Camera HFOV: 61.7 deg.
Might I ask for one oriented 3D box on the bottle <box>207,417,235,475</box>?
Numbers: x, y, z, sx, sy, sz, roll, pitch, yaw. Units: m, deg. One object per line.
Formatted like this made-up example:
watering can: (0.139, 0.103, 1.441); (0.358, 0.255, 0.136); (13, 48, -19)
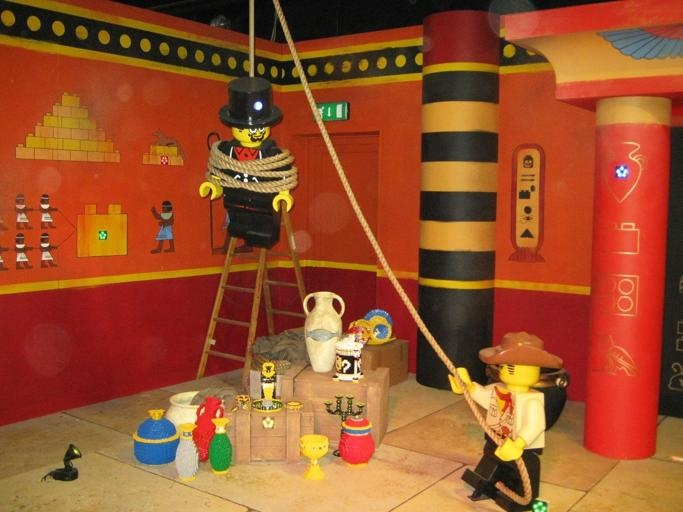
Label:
bottle: (-0.816, 1.271, 3.894); (0.147, 0.392, 0.183); (0, 6, -9)

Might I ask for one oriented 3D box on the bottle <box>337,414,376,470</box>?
bottle: (0.115, 1.287, 4.033); (0.298, 0.328, 0.258); (0, -1, -35)

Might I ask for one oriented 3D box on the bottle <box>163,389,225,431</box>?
bottle: (-1.164, 1.147, 4.403); (0.313, 0.229, 0.351); (0, -3, 18)

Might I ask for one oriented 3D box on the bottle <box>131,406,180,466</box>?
bottle: (-1.318, 1.273, 4.065); (0.327, 0.336, 0.315); (0, 3, -38)

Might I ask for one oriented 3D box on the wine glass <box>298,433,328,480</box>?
wine glass: (-0.186, 1.340, 3.839); (0.177, 0.276, 0.154); (0, 6, -6)

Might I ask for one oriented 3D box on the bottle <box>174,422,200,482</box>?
bottle: (-1.032, 1.299, 3.828); (0.151, 0.360, 0.176); (-1, 6, -15)

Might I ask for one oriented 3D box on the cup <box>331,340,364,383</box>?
cup: (0.058, 0.803, 4.377); (0.219, 0.273, 0.231); (-1, 8, 0)
